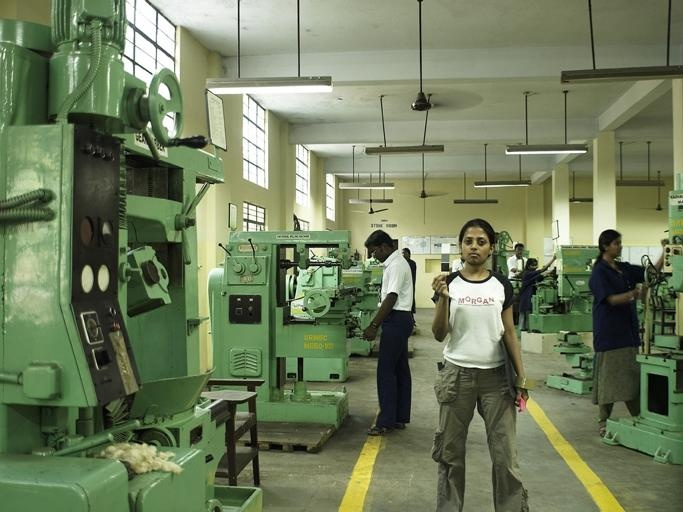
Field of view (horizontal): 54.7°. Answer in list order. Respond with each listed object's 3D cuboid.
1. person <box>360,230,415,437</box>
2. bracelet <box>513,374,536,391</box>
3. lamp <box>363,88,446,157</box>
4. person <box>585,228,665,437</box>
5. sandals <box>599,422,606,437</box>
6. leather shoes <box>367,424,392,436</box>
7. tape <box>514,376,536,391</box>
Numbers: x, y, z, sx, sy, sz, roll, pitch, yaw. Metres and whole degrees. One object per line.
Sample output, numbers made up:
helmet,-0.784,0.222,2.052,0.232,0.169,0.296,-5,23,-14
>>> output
person,0.454,0.714,6.238,0.475,1.860,0.539,-1,0,-8
bracelet,1.105,0.765,4.005,0.096,0.051,0.091,5,-6,1
lamp,1.233,-2.679,13.067,1.405,1.198,0.317,-1,-3,2
person,2.566,0.729,6.105,0.479,1.966,0.596,-1,0,28
sandals,2.464,1.638,6.230,0.090,0.046,0.132,-1,2,19
leather shoes,0.349,1.627,6.201,0.174,0.062,0.100,2,-2,3
tape,1.119,0.768,3.990,0.082,0.088,0.083,3,-6,22
